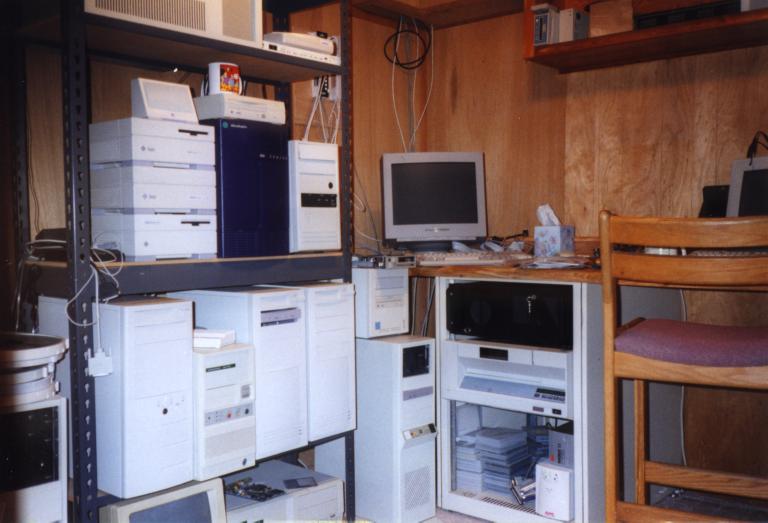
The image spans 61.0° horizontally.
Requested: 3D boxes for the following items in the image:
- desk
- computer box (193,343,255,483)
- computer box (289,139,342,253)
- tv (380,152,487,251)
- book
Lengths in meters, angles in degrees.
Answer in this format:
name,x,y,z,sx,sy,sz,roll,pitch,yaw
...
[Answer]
name,x,y,z,sx,sy,sz,roll,pitch,yaw
desk,1.025,0.138,3.099,1.651,1.393,1.294,0,1,44
computer box,-0.701,0.604,2.657,0.284,0.491,0.296,-3,-1,36
computer box,-0.393,-0.293,3.059,0.338,0.493,0.349,-1,2,15
tv,0.280,-0.349,3.841,0.574,0.490,0.310,-2,-5,-4
book,0.559,1.011,3.346,0.286,0.160,0.325,1,2,41
